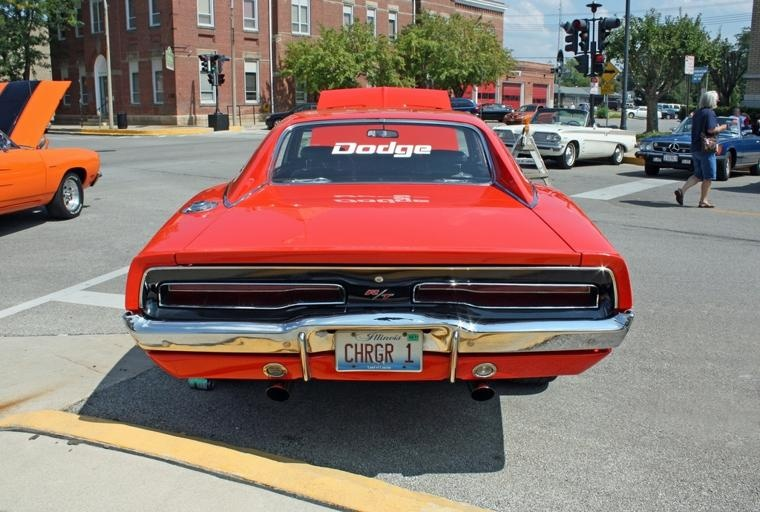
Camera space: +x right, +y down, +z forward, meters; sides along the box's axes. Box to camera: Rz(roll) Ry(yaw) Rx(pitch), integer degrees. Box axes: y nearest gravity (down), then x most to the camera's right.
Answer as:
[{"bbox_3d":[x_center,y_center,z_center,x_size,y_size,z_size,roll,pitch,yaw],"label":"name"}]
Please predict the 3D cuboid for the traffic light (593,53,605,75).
[{"bbox_3d":[8.135,-7.084,21.608,0.482,0.701,0.251,1,-8,3],"label":"traffic light"}]

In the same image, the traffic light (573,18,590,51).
[{"bbox_3d":[7.206,-7.817,20.858,0.664,1.227,1.642,5,14,16],"label":"traffic light"}]

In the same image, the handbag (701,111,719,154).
[{"bbox_3d":[6.327,-2.339,11.168,0.281,0.712,0.393,6,15,17],"label":"handbag"}]

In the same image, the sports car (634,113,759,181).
[{"bbox_3d":[9.690,-3.078,16.944,4.164,1.221,1.937,-6,9,-40],"label":"sports car"}]

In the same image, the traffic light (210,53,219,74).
[{"bbox_3d":[-10.228,-11.968,36.540,0.707,1.075,0.348,4,15,12],"label":"traffic light"}]

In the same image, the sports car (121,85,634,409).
[{"bbox_3d":[0.209,0.233,5.268,2.918,1.324,4.343,0,-1,7],"label":"sports car"}]

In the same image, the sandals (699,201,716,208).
[{"bbox_3d":[6.590,-1.016,11.715,0.384,0.127,0.115,-2,15,0],"label":"sandals"}]
